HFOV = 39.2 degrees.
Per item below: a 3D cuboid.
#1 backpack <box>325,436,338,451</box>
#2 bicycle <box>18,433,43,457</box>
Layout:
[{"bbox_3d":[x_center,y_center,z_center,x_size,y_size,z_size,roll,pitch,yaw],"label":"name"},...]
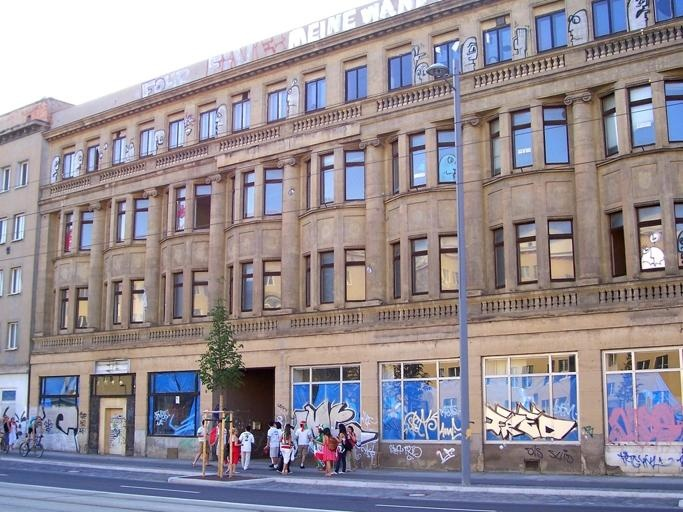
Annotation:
[{"bbox_3d":[-0.513,8.460,43.417,0.423,0.635,0.221,4,-11,-15],"label":"backpack"},{"bbox_3d":[-17.286,10.672,53.969,2.187,1.391,1.105,-9,-19,38],"label":"bicycle"}]
